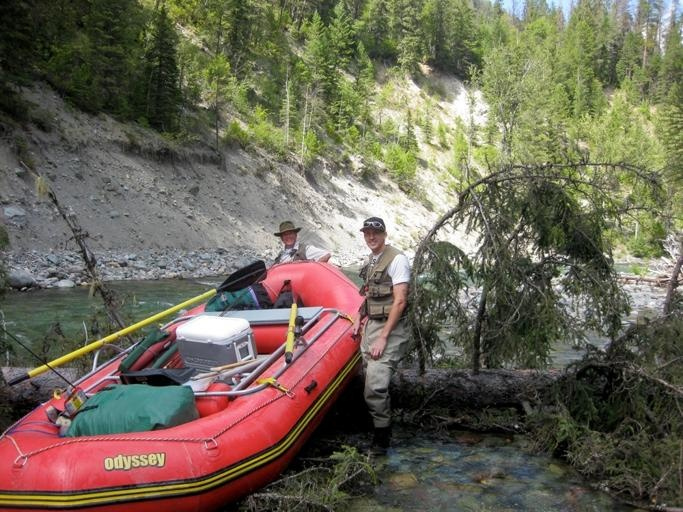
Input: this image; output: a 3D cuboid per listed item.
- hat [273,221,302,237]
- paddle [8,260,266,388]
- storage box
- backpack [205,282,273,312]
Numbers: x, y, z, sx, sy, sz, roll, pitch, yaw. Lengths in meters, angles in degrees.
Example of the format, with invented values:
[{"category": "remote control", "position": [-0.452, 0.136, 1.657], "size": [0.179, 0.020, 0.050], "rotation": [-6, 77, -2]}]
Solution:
[{"category": "hat", "position": [-0.869, -0.444, 8.839], "size": [0.293, 0.244, 0.369], "rotation": [4, 6, -40]}, {"category": "paddle", "position": [-2.537, 0.892, 6.841], "size": [3.571, 0.402, 0.547], "rotation": [-24, 48, 2]}, {"category": "storage box", "position": [-1.363, 0.937, 5.848], "size": [0.736, 0.513, 0.613], "rotation": [0, 14, 20]}, {"category": "backpack", "position": [-1.314, 0.564, 7.184], "size": [0.610, 0.240, 0.377], "rotation": [-6, 12, -16]}]
